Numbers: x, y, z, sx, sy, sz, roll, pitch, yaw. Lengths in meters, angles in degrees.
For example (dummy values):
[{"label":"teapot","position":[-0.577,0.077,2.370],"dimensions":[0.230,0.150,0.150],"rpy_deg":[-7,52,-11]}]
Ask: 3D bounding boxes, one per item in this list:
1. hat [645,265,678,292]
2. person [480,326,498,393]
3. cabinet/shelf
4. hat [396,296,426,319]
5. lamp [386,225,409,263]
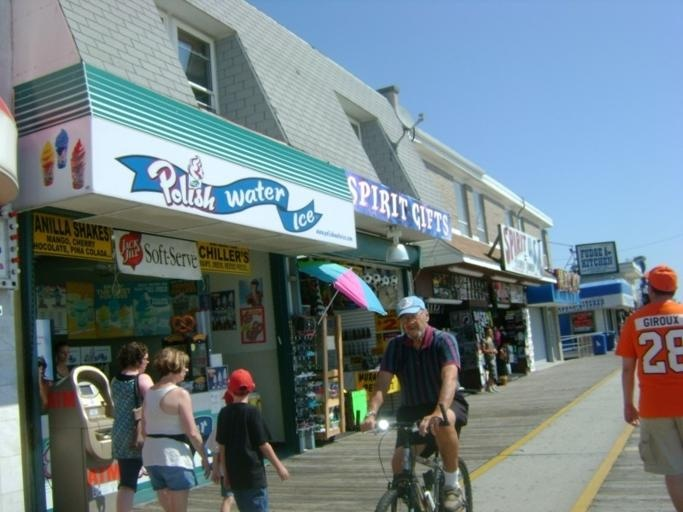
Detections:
[{"label":"hat","position":[2.879,0.219,5.510],"dimensions":[0.222,0.195,0.332],"rpy_deg":[3,11,7]},{"label":"person","position":[4.395,3.051,18.194],"dimensions":[0.391,1.872,0.973],"rpy_deg":[-6,-8,14]},{"label":"cabinet/shelf","position":[-0.207,2.348,11.812],"dimensions":[0.521,2.381,1.307],"rpy_deg":[-8,-8,26]},{"label":"hat","position":[0.677,0.486,5.883],"dimensions":[0.166,0.132,0.245],"rpy_deg":[-16,-18,12]},{"label":"lamp","position":[1.207,-0.261,13.652],"dimensions":[0.456,0.741,0.684],"rpy_deg":[-6,-8,9]}]
